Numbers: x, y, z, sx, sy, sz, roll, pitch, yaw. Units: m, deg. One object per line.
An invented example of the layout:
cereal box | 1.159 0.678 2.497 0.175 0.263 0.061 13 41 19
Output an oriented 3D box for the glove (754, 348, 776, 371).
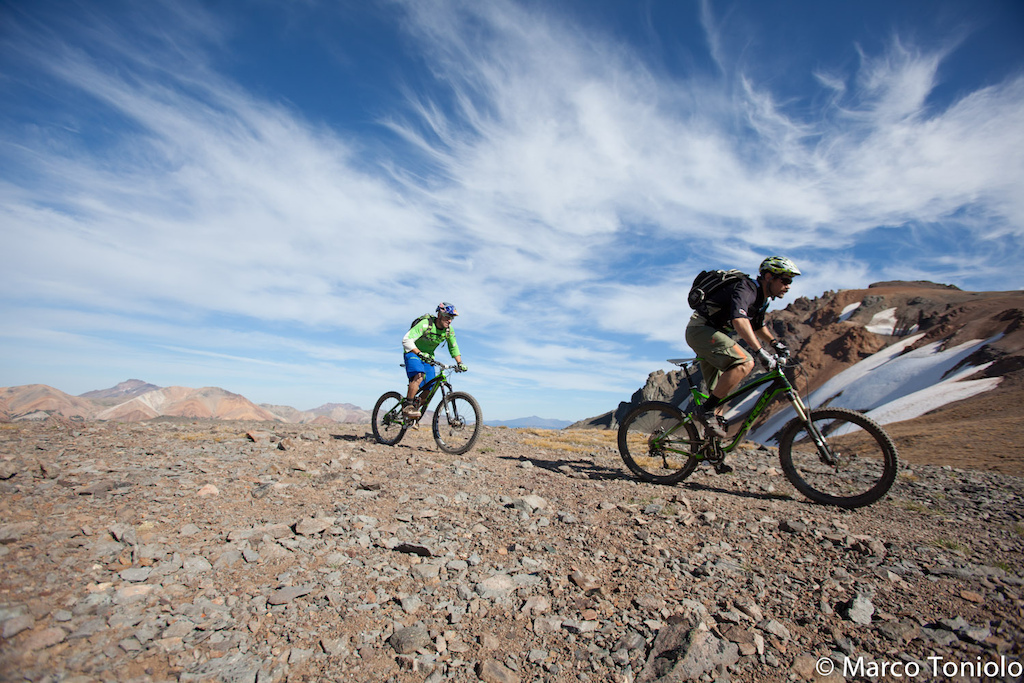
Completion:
glove | 4.917 0.322 8.613 0.307 0.444 0.331 -2 13 -11
